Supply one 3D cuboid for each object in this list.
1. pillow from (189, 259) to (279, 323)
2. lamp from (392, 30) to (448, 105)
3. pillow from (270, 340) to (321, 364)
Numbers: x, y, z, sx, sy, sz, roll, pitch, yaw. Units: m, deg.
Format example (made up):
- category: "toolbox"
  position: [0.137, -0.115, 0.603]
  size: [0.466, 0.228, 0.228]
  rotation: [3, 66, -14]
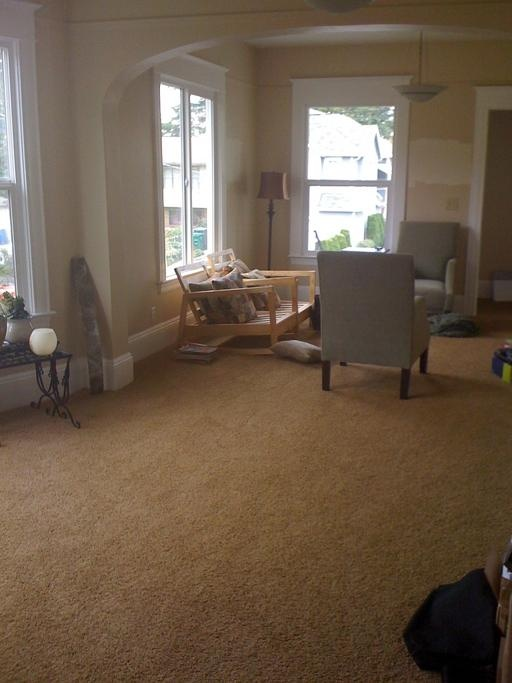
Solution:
- category: "pillow"
  position: [-0.178, -0.418, 5.027]
  size: [0.653, 0.474, 0.923]
  rotation: [3, 12, 12]
- category: "lamp"
  position: [1.621, -2.769, 5.331]
  size: [0.493, 0.763, 0.495]
  rotation: [15, 24, 36]
- category: "pillow"
  position: [0.349, 0.091, 4.551]
  size: [0.176, 0.147, 0.493]
  rotation: [-10, 15, -39]
